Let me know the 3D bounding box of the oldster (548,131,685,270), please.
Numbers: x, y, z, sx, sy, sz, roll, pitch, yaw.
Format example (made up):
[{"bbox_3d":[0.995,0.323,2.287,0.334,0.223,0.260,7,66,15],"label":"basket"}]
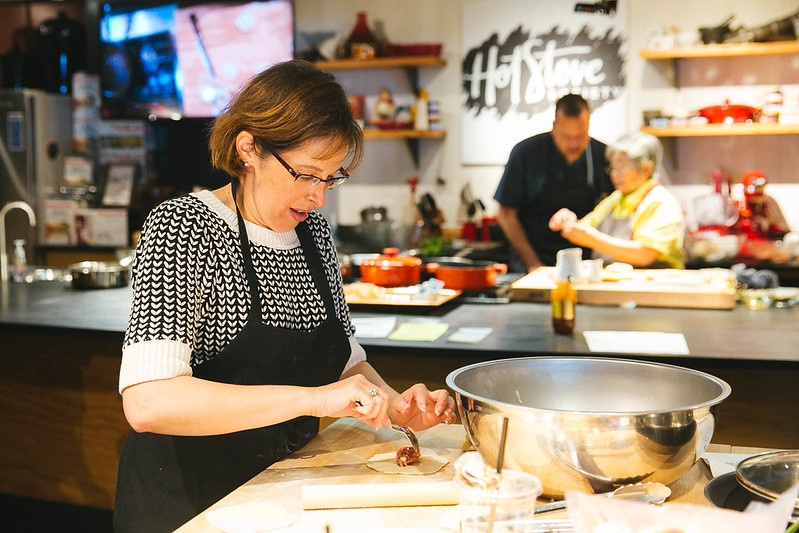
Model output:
[{"bbox_3d":[1.524,-0.438,4.785,0.941,1.403,0.867,1,1,2],"label":"oldster"}]

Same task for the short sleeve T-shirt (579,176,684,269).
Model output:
[{"bbox_3d":[1.598,-0.253,4.505,0.535,0.609,0.814,-11,8,-19],"label":"short sleeve T-shirt"}]

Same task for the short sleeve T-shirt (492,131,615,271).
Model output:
[{"bbox_3d":[1.059,-0.429,4.539,1.050,1.066,0.503,0,4,9],"label":"short sleeve T-shirt"}]

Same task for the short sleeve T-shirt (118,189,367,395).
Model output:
[{"bbox_3d":[-0.465,0.069,1.952,0.220,0.585,0.742,3,11,45],"label":"short sleeve T-shirt"}]

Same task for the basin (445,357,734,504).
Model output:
[{"bbox_3d":[0.462,0.375,1.679,0.647,0.237,0.655,-1,4,0],"label":"basin"}]

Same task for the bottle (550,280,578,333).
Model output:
[{"bbox_3d":[0.662,0.160,2.729,0.092,0.204,0.172,-3,8,13],"label":"bottle"}]

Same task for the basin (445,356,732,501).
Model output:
[{"bbox_3d":[0.435,0.340,1.536,0.434,0.147,0.419,1,2,0],"label":"basin"}]

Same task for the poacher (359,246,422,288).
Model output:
[{"bbox_3d":[-0.030,-0.006,3.434,0.300,0.178,0.291,1,7,4],"label":"poacher"}]
